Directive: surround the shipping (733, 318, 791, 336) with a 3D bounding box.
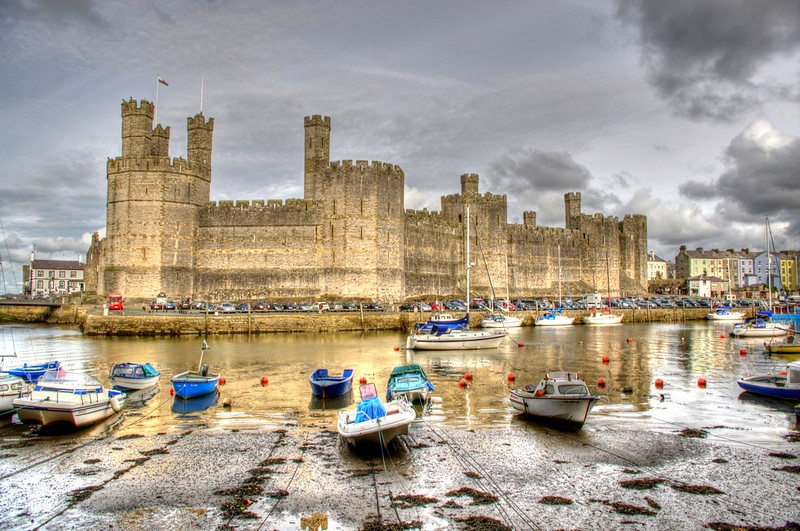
[{"bbox_3d":[27.691,4.883,51.244,5.637,1.489,1.692,-1,2,-13],"label":"shipping"}]

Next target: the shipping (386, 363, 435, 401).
[{"bbox_3d":[0.402,5.173,29.965,2.156,1.147,3.618,-8,6,-1],"label":"shipping"}]

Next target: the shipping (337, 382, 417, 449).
[{"bbox_3d":[-0.912,5.540,24.560,1.731,1.155,2.322,-1,2,-10],"label":"shipping"}]

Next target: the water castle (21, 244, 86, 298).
[{"bbox_3d":[-55.231,1.286,107.745,8.124,6.062,5.304,4,4,-37],"label":"water castle"}]

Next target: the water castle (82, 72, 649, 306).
[{"bbox_3d":[0.256,-4.008,74.197,59.013,19.351,16.630,3,-11,-23],"label":"water castle"}]
